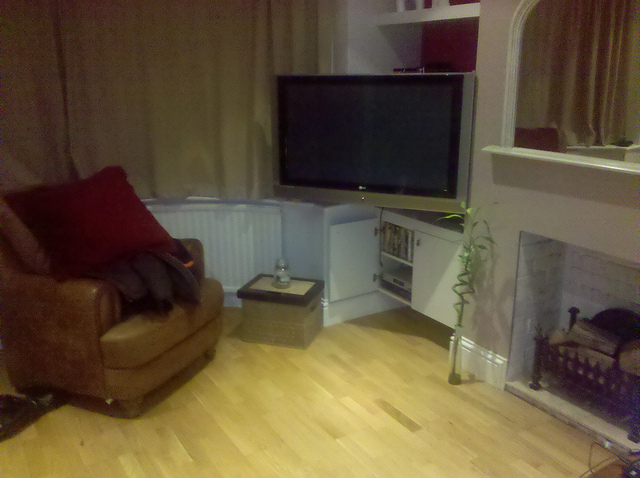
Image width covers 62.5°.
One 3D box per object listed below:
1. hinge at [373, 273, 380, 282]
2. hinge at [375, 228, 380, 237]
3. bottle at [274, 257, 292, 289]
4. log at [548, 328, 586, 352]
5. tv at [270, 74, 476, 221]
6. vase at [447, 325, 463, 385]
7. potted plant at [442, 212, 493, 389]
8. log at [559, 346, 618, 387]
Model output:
[{"bbox_3d":[0.435,0.289,3.994,0.054,0.040,0.013,1,5,-18],"label":"hinge"},{"bbox_3d":[0.423,-0.052,3.919,0.046,0.068,0.018,-3,7,-16],"label":"hinge"},{"bbox_3d":[-0.259,0.237,3.689,0.179,0.208,0.173,-1,8,-4],"label":"bottle"},{"bbox_3d":[1.386,0.581,3.043,0.114,0.032,0.114,25,48,21],"label":"log"},{"bbox_3d":[0.373,-0.640,3.455,0.989,0.674,0.040,6,15,24],"label":"tv"},{"bbox_3d":[0.845,0.694,3.255,0.088,0.368,0.176,4,19,14],"label":"vase"},{"bbox_3d":[0.905,0.329,3.338,0.272,1.014,0.632,3,19,13],"label":"potted plant"},{"bbox_3d":[1.465,0.689,2.875,0.182,0.051,0.191,-7,22,-36],"label":"log"}]
